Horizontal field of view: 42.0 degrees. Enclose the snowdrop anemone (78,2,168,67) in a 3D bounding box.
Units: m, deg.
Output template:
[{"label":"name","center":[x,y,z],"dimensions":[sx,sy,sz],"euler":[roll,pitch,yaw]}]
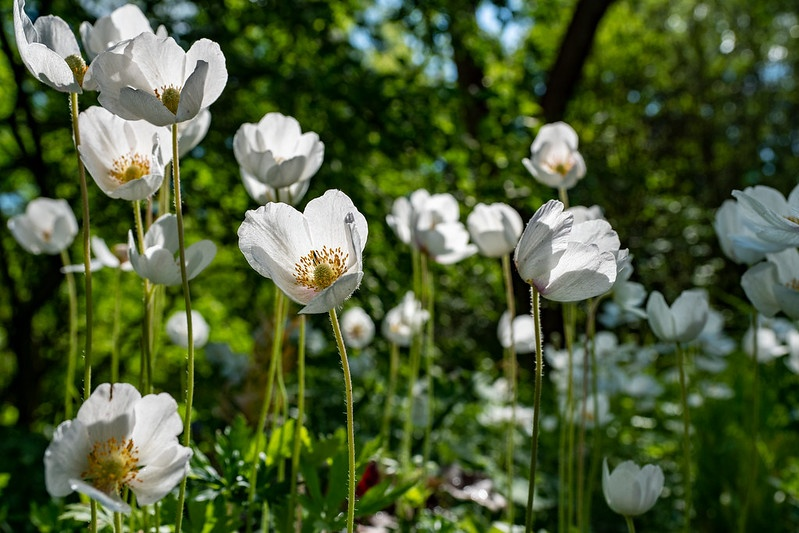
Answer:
[{"label":"snowdrop anemone","center":[-1.922,-1.641,7.214],"dimensions":[0.472,0.212,0.485],"euler":[-3,20,9]}]
